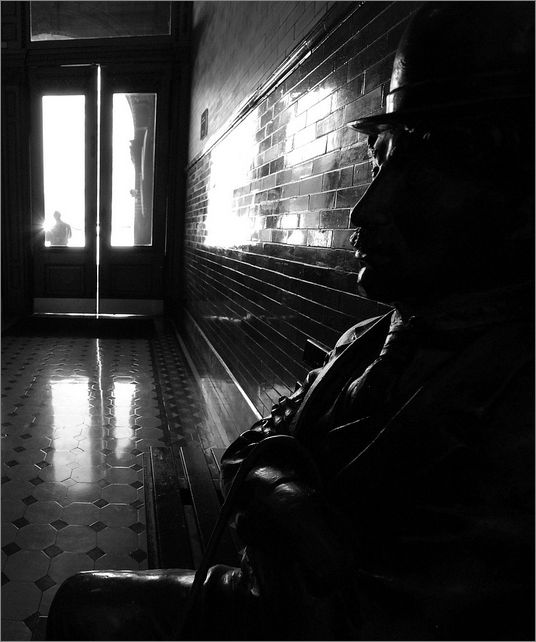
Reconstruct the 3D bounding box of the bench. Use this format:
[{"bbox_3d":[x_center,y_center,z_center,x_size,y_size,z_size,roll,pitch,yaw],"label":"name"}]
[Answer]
[{"bbox_3d":[0.061,0.410,2.469,0.585,0.526,1.618,-20,-2,2],"label":"bench"}]
